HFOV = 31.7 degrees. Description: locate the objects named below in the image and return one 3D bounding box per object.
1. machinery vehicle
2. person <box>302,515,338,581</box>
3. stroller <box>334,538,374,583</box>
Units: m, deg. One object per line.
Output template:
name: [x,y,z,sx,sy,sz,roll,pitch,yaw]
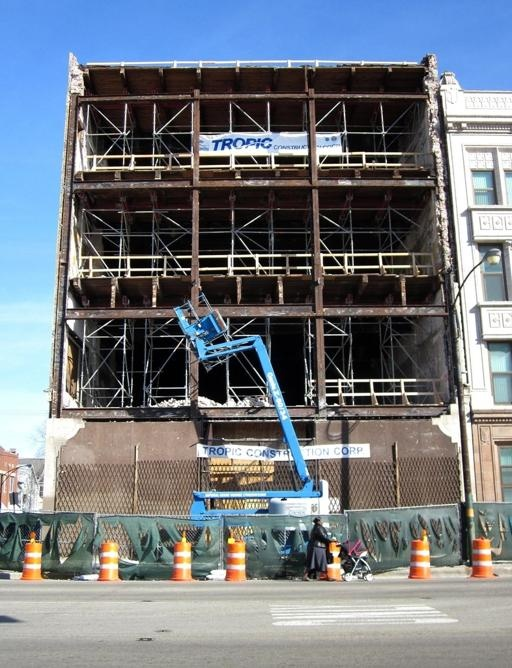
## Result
machinery vehicle: [0.070,1.807,25.825,4.765,6.760,4.629,8,-12,-30]
person: [1.308,4.486,18.705,0.522,1.239,0.885,0,-14,-11]
stroller: [2.163,4.735,18.953,0.665,0.798,0.485,2,1,4]
